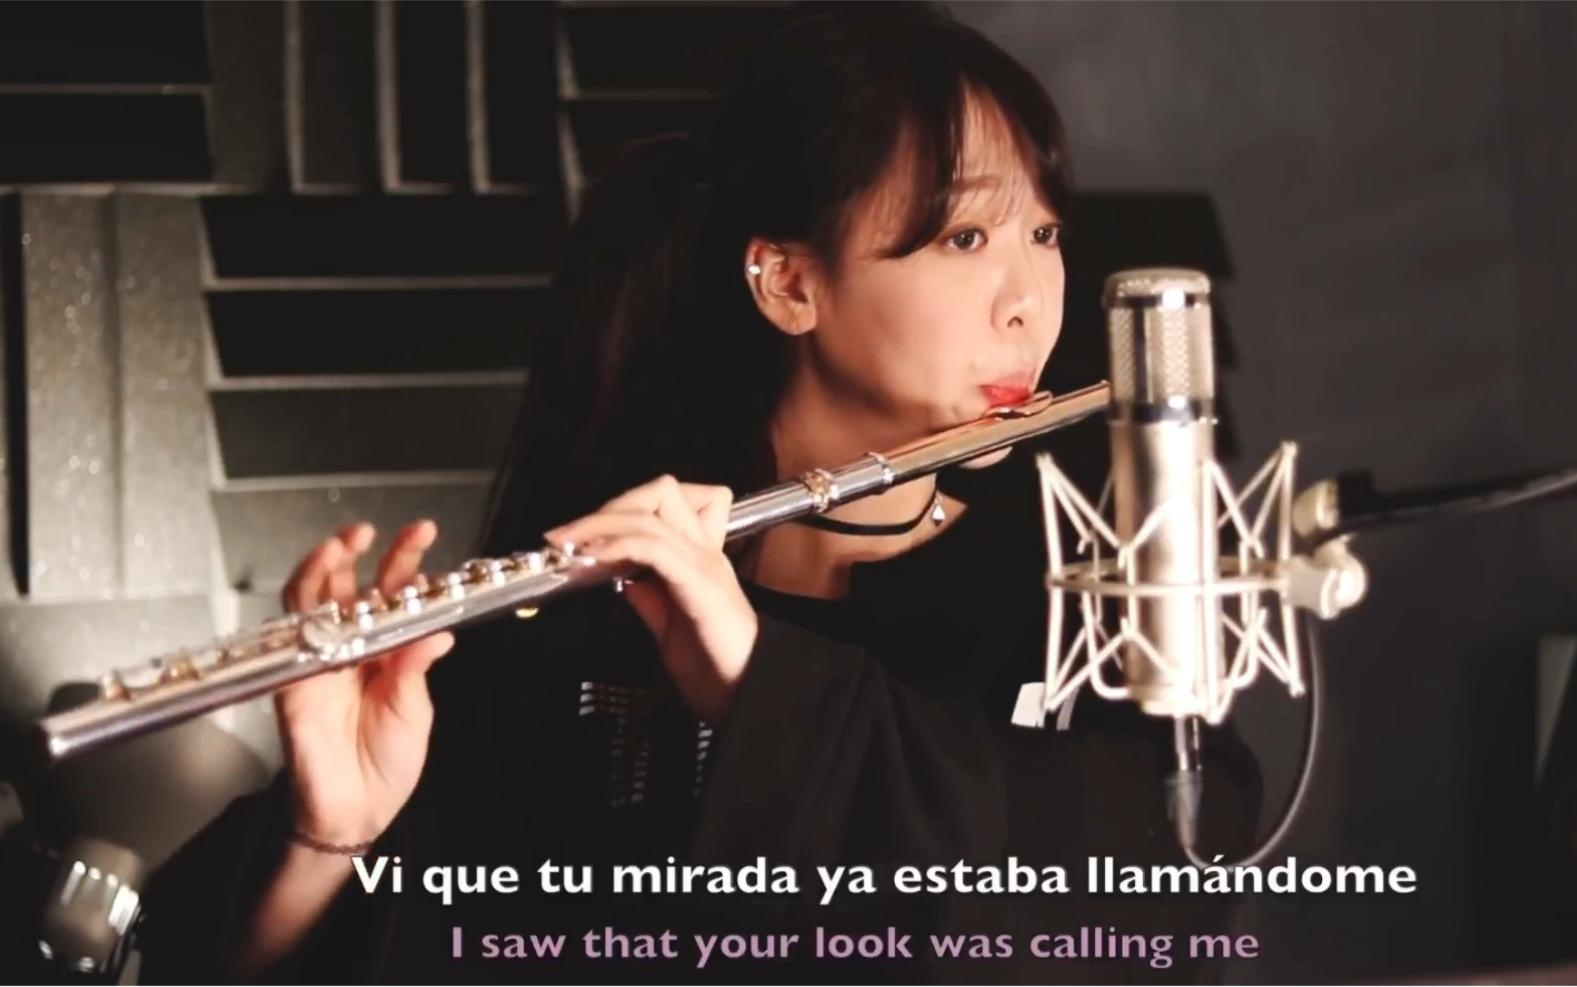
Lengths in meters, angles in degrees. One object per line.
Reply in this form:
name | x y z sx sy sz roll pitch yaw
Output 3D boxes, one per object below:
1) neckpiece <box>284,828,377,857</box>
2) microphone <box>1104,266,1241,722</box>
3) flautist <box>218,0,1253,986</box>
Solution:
neckpiece | -0.572 0.442 1.861 0.135 0.033 0.037 4 22 -13
microphone | 0.444 -0.002 1.770 0.140 0.522 0.090 2 -3 11
flautist | 0.089 0.030 2.828 1.491 2.141 1.024 1 3 16
